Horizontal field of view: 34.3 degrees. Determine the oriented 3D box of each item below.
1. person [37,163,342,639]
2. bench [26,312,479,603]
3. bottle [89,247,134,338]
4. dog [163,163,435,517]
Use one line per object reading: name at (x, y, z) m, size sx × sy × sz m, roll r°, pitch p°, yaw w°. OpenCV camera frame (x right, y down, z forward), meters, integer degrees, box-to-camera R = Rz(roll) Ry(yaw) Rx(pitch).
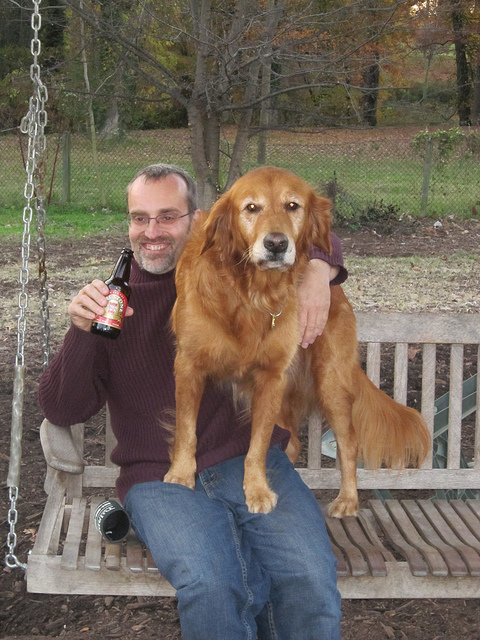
person at (-0.207, 0.275, 2.810) m, size 0.864 × 1.682 × 1.248 m, roll -7°, pitch 12°, yaw -25°
bench at (0.072, 0.545, 3.057) m, size 1.537 × 0.850 × 0.601 m, roll 0°, pitch 4°, yaw -2°
bottle at (-0.480, -0.107, 2.913) m, size 0.166 × 0.284 × 0.459 m, roll -3°, pitch 10°, yaw -7°
dog at (0.165, 0.201, 3.344) m, size 0.975 × 1.268 × 1.461 m, roll -3°, pitch -16°, yaw 27°
